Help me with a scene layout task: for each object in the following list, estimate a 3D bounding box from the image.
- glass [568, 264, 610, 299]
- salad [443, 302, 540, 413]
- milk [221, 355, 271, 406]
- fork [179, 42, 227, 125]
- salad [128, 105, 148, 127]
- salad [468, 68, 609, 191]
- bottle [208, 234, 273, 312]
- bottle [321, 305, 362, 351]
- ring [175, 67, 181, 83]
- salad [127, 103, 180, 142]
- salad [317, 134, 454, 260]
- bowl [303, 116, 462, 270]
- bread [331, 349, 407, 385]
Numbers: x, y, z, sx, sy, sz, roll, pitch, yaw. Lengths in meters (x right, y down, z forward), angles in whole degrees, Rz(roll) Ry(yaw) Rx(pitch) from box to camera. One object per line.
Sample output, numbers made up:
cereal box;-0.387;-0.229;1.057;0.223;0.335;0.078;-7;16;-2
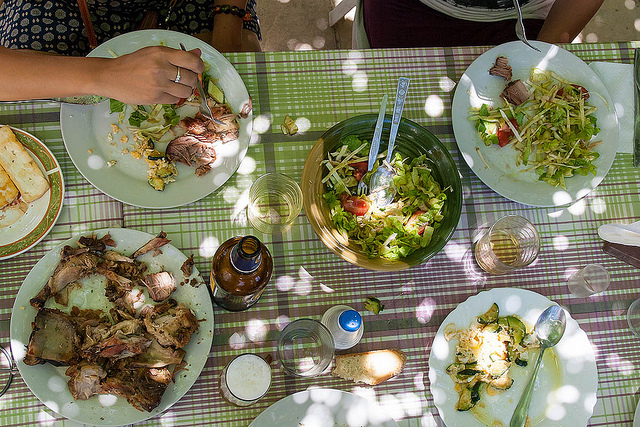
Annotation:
glass;1.070;0.257;1.942;0.145;0.138;0.140;-20;103;-33
salad;0.635;0.536;1.817;0.343;0.059;0.439;38;81;0
milk;-0.246;0.576;1.763;0.166;0.168;0.181;-18;36;-33
fork;-0.438;-0.486;1.796;0.048;0.051;0.333;-35;112;-42
salad;-0.691;-0.353;1.813;0.056;0.026;0.055;18;84;1
salad;0.890;-0.365;2.007;0.500;0.089;0.457;-34;82;-7
bottle;-0.279;0.195;1.679;0.190;0.506;0.201;7;65;-15
bottle;0.093;0.419;1.834;0.144;0.160;0.167;-3;26;2
ring;-0.510;-0.505;1.730;0.010;0.039;0.038;9;40;2
salad;-0.615;-0.334;1.767;0.155;0.056;0.156;43;81;-7
salad;0.247;-0.023;1.898;0.460;0.185;0.493;5;84;2
bowl;0.208;-0.065;1.957;0.724;0.542;0.658;-3;44;-5
bread;0.186;0.591;1.803;0.290;0.053;0.149;-2;44;-5
